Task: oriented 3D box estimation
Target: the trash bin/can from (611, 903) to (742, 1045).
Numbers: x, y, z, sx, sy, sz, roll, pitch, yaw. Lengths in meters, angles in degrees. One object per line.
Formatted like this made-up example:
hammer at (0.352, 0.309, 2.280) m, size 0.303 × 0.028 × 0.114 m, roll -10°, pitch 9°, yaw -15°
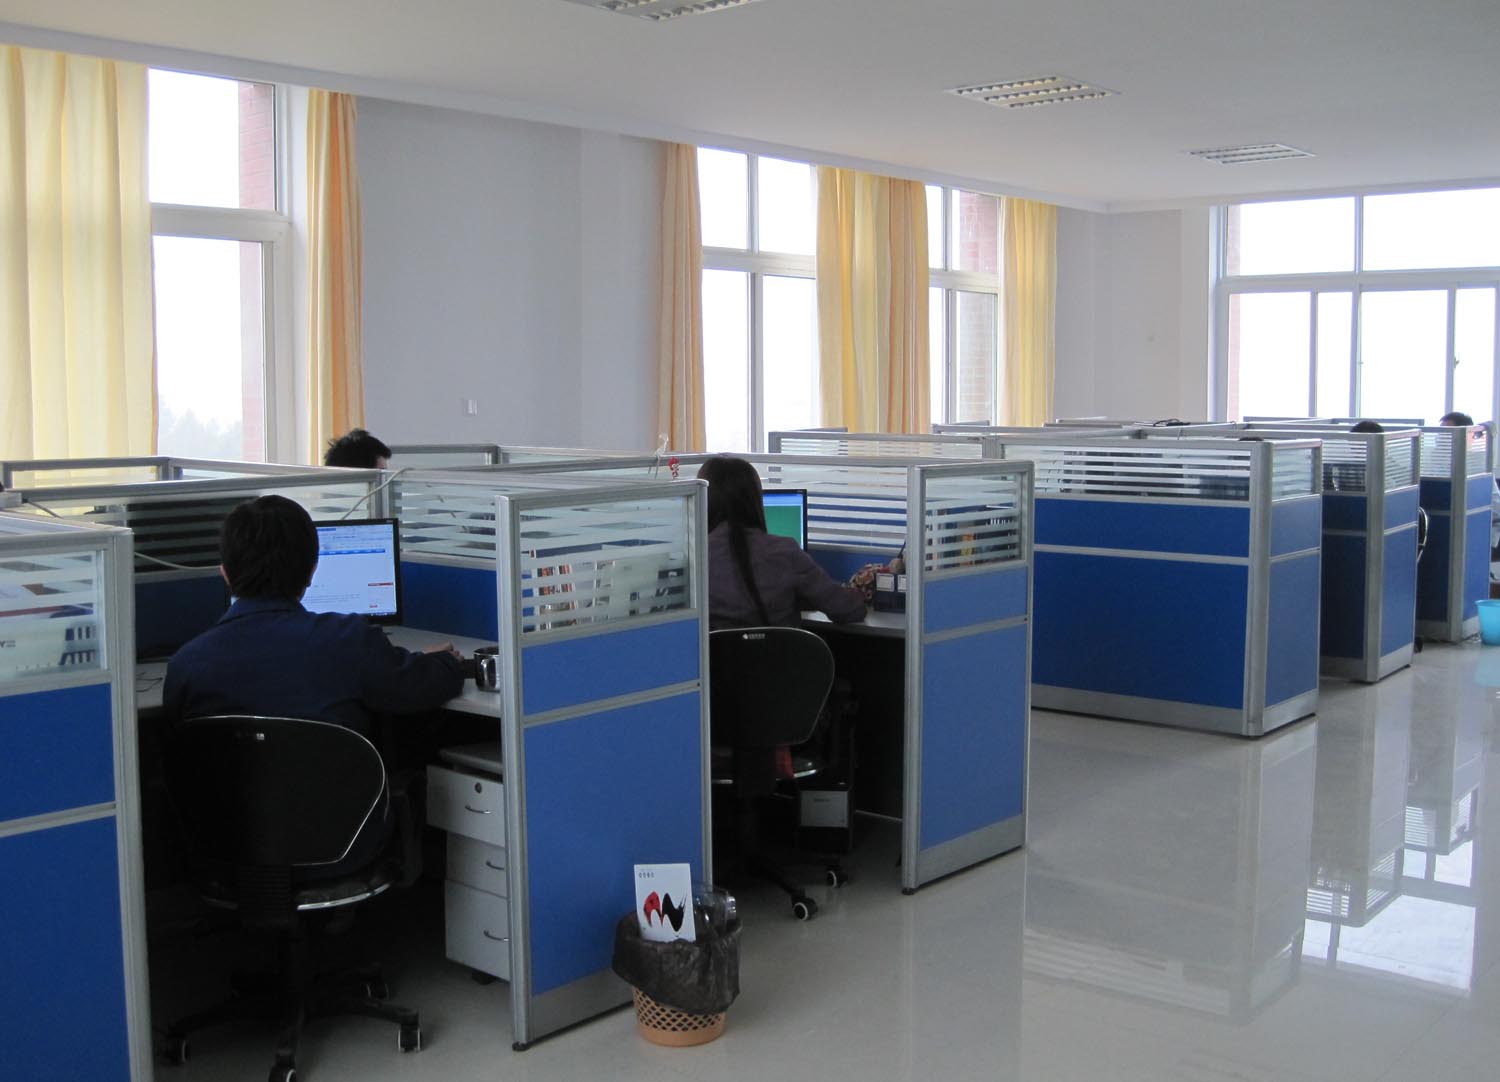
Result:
trash bin/can at (-0.189, 1.233, 3.244) m, size 0.334 × 0.376 × 0.377 m, roll 0°, pitch -6°, yaw 1°

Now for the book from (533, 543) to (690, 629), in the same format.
book at (-0.418, 0.121, 3.392) m, size 0.587 × 0.205 × 0.066 m, roll -9°, pitch 12°, yaw -42°

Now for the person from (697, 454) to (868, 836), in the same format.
person at (0.039, 0.311, 4.424) m, size 0.716 × 1.298 × 0.696 m, roll -8°, pitch 14°, yaw -3°

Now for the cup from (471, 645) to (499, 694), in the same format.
cup at (-0.774, 0.378, 3.395) m, size 0.085 × 0.121 × 0.053 m, roll 0°, pitch -5°, yaw 23°

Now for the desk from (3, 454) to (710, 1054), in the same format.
desk at (-0.590, 0.362, 4.217) m, size 1.837 × 1.494 × 1.865 m, roll 5°, pitch 8°, yaw 35°

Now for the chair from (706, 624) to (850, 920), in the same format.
chair at (0.036, 0.790, 4.038) m, size 0.618 × 0.933 × 0.586 m, roll 8°, pitch -13°, yaw -33°

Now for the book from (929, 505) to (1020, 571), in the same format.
book at (0.834, -0.032, 4.260) m, size 0.508 × 0.219 × 0.060 m, roll -8°, pitch 12°, yaw -40°

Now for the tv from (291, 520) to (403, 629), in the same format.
tv at (-1.310, 0.103, 3.704) m, size 0.337 × 0.351 × 0.034 m, roll 3°, pitch -3°, yaw -28°

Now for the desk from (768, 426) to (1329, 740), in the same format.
desk at (1.425, 0.208, 5.216) m, size 1.406 × 1.486 × 0.828 m, roll 2°, pitch 4°, yaw 29°

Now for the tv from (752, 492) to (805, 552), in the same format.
tv at (0.100, -0.084, 4.559) m, size 0.224 × 0.195 × 0.023 m, roll 6°, pitch -3°, yaw -28°
